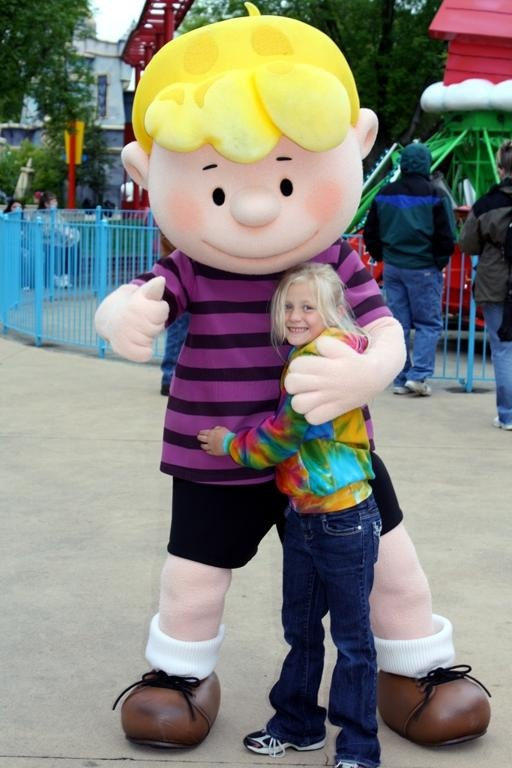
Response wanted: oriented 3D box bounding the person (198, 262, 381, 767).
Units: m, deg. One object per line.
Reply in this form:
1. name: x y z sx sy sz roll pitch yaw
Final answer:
1. person: 0.093 0.441 1.674 0.405 0.876 0.291 3 10 13

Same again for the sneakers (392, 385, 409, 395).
1. sneakers: 1.325 0.046 6.874 0.081 0.085 0.228 1 -4 12

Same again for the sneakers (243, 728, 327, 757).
1. sneakers: 0.064 0.839 1.793 0.194 0.074 0.064 5 -1 -11

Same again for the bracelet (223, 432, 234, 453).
1. bracelet: -0.061 0.125 1.635 0.016 0.035 0.030 6 -7 1

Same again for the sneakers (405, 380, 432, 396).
1. sneakers: 1.475 0.042 6.814 0.281 0.127 0.104 8 24 -39
